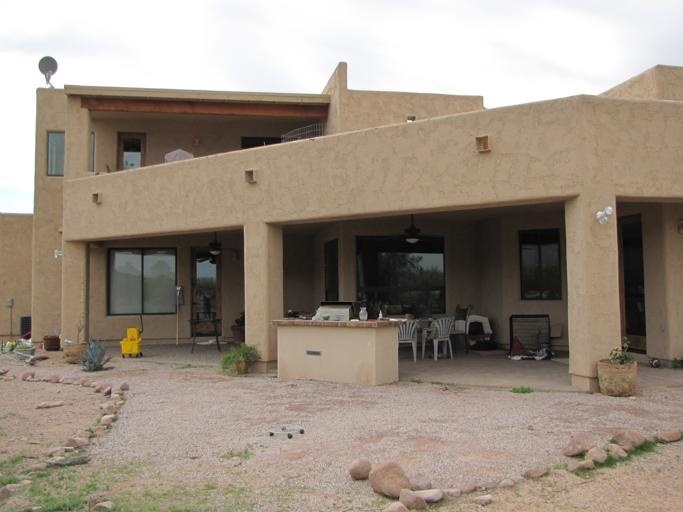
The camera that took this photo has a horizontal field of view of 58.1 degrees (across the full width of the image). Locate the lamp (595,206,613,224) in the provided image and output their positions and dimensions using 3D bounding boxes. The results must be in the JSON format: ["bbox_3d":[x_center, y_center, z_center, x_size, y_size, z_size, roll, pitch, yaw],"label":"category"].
[{"bbox_3d":[4.616,-0.719,10.755,0.328,0.299,0.087,-3,4,-17],"label":"lamp"}]

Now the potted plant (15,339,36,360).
[{"bbox_3d":[-9.318,2.725,17.980,0.747,0.542,1.283,1,-2,-33],"label":"potted plant"}]

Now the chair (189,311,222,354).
[{"bbox_3d":[-4.319,2.352,19.404,1.061,1.087,1.087,2,-9,-21],"label":"chair"}]

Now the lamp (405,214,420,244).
[{"bbox_3d":[1.768,-0.665,15.581,0.355,0.750,1.296,-1,4,5],"label":"lamp"}]

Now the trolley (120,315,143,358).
[{"bbox_3d":[-5.666,2.171,16.554,0.658,1.084,0.616,-5,-7,28],"label":"trolley"}]

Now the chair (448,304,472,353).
[{"bbox_3d":[3.139,1.874,16.115,0.499,1.278,1.083,-1,4,11],"label":"chair"}]

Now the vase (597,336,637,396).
[{"bbox_3d":[4.790,1.902,10.558,0.586,0.908,0.577,0,1,-32],"label":"vase"}]

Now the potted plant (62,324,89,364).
[{"bbox_3d":[-7.026,2.307,16.082,0.788,1.273,0.728,2,-6,-14],"label":"potted plant"}]

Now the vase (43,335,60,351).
[{"bbox_3d":[-8.470,2.530,17.834,0.412,0.396,0.410,3,-4,-38],"label":"vase"}]

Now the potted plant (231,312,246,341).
[{"bbox_3d":[-3.259,2.254,19.146,0.362,0.848,1.146,-2,4,-12],"label":"potted plant"}]

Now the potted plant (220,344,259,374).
[{"bbox_3d":[-2.250,2.203,13.516,0.644,0.511,0.677,3,-5,-21],"label":"potted plant"}]

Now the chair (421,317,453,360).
[{"bbox_3d":[2.404,1.988,14.950,0.699,0.949,0.751,-2,-3,18],"label":"chair"}]
